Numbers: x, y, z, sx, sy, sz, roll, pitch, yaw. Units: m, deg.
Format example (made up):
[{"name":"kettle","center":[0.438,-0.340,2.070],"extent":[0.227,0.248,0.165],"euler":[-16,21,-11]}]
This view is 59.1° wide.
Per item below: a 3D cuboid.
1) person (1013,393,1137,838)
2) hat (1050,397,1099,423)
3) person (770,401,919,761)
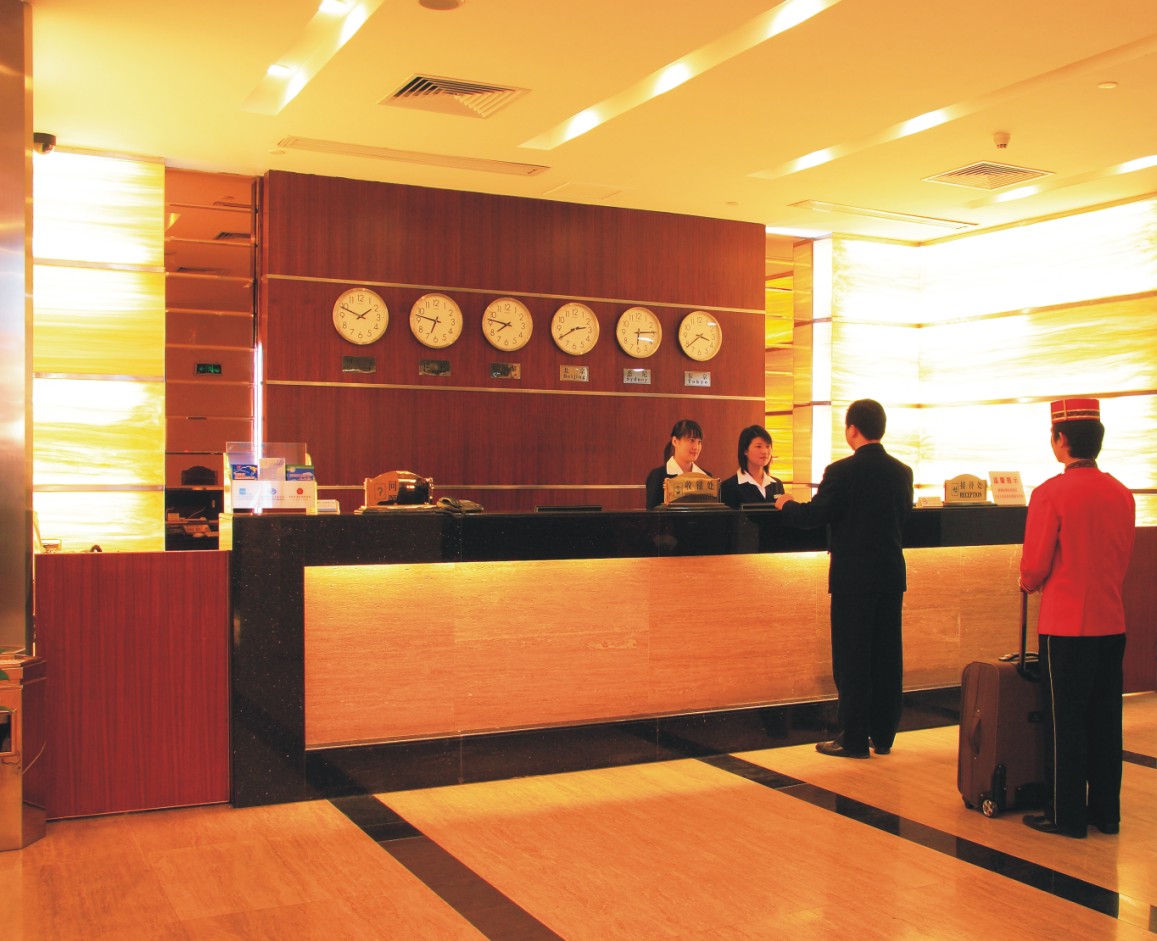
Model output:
[{"name":"person","center":[2.310,0.786,4.646],"extent":[0.512,1.709,0.291],"euler":[-1,3,-10]},{"name":"hat","center":[2.296,-0.274,4.731],"extent":[0.150,0.079,0.147],"euler":[0,2,-35]},{"name":"person","center":[1.610,0.606,5.801],"extent":[0.651,2.004,0.299],"euler":[-1,4,-23]}]
